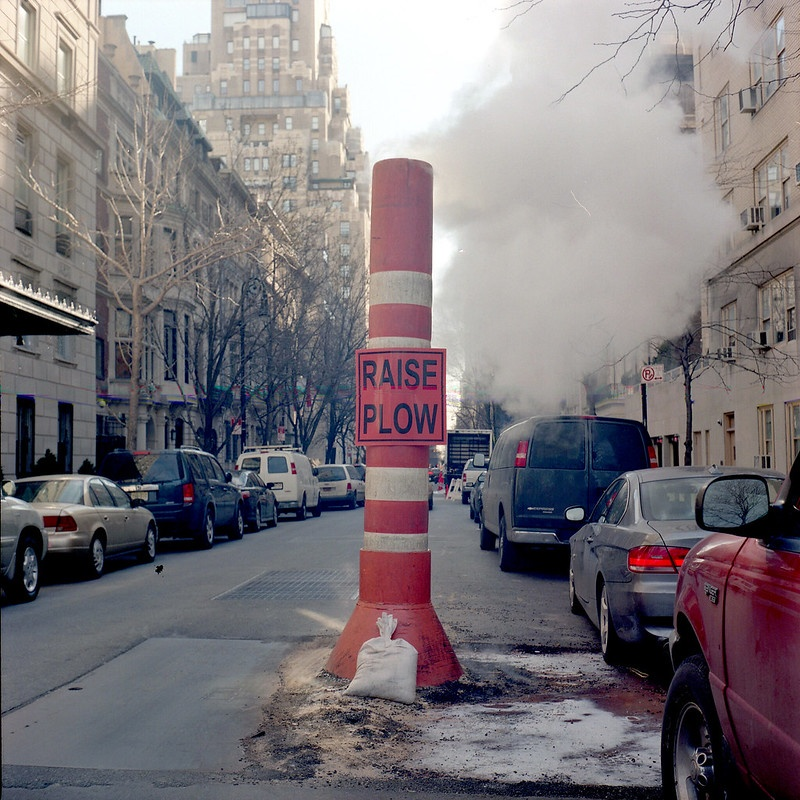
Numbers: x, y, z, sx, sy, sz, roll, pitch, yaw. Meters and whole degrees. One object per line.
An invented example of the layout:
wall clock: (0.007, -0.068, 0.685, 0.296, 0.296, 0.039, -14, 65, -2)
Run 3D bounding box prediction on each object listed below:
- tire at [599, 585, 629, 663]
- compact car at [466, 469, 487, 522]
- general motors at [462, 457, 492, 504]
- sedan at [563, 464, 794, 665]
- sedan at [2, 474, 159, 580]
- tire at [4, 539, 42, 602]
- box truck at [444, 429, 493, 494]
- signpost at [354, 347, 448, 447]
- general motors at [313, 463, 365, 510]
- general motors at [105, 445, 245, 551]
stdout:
tire: (1.493, 1.570, 7.230, 0.126, 0.600, 0.486, 0, -4, -6)
compact car: (1.811, 2.388, 24.718, 0.589, 0.729, 1.304, 1, -1, 4)
general motors: (2.699, 2.974, 38.153, 0.908, 1.329, 2.277, 0, 0, 4)
sedan: (1.779, 1.157, 7.763, 0.761, 0.878, 2.033, -1, -2, 0)
sedan: (-4.003, 1.627, 13.575, 0.800, 0.933, 2.273, -2, -3, 9)
tire: (-3.947, 1.787, 10.824, 0.132, 0.538, 0.459, -4, 22, 15)
box truck: (2.622, 2.310, 39.962, 1.135, 3.367, 1.652, 1, -4, 3)
signpost: (0.020, -0.007, 6.849, 0.427, 0.652, 0.055, -1, -2, 5)
general motors: (-1.994, 3.040, 35.155, 1.107, 1.384, 2.788, -1, 1, 4)
general motors: (-3.780, 1.697, 18.353, 1.102, 1.417, 2.942, -1, -2, 7)
